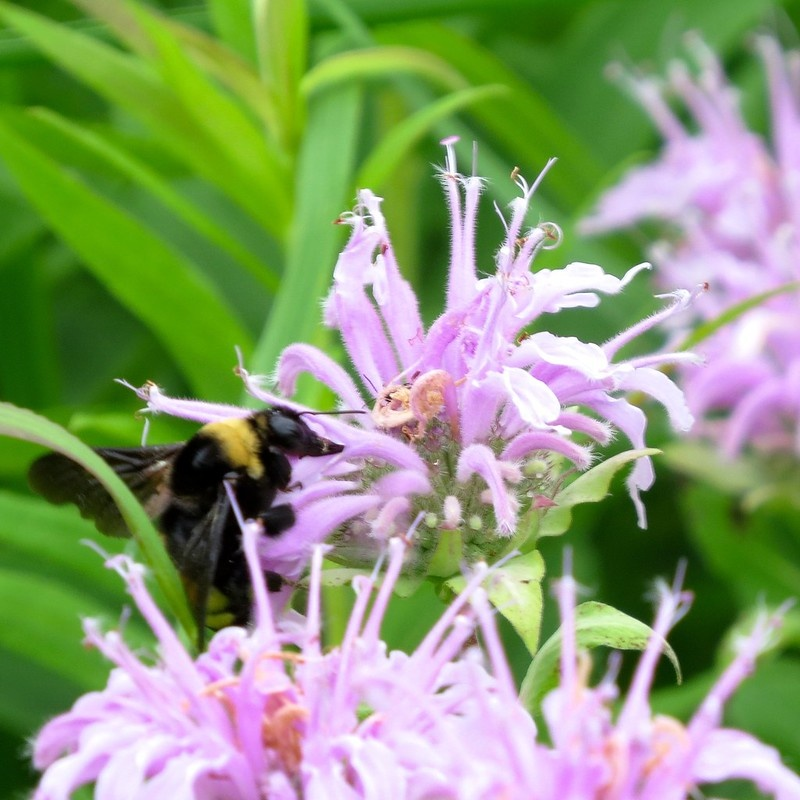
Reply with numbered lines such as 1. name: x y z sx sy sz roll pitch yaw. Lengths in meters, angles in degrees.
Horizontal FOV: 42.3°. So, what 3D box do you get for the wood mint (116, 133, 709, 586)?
1. wood mint: 0.021 0.011 0.992 0.464 0.254 0.456 0 7 30
